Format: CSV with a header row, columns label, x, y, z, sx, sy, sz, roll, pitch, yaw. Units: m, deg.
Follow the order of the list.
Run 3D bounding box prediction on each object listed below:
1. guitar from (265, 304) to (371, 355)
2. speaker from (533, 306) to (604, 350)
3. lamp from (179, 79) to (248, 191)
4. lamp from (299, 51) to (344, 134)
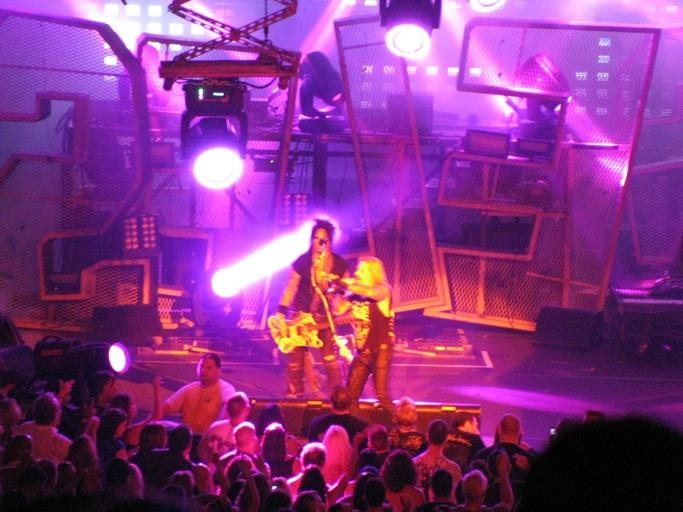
label,x,y,z,sx,sy,sz,roll,pitch,yaw
guitar,-0.340,0.886,8.013,0.868,0.372,0.547,6,3,-25
speaker,3.528,1.119,10.846,0.797,0.777,0.523,4,-72,26
lamp,-1.585,-1.457,8.687,0.835,1.366,0.690,-2,-7,-15
lamp,-0.332,-2.716,11.439,0.869,1.252,0.916,4,-43,9
